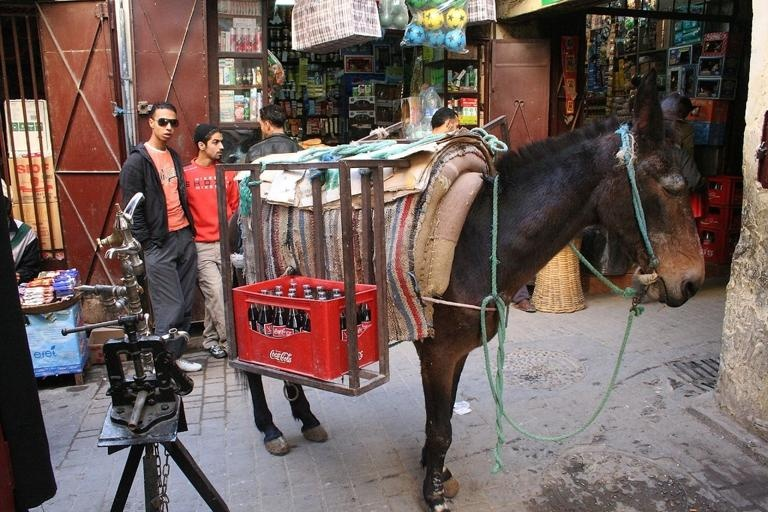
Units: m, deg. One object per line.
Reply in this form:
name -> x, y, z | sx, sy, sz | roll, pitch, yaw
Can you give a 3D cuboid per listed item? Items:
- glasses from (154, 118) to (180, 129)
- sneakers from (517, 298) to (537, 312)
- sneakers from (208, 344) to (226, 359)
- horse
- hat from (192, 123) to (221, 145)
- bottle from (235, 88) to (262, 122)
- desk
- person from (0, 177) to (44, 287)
glasses -> -2.238, -1.393, 5.944 | 0.119, 0.101, 0.231 | 9, 20, 36
sneakers -> 1.876, 0.652, 7.527 | 0.120, 0.146, 0.334 | -2, 2, -15
sneakers -> -1.897, 1.090, 6.492 | 0.102, 0.090, 0.242 | 2, -1, -32
horse -> 1.159, 0.304, 4.059 | 1.911, 2.997, 0.684 | -4, 16, -1
hat -> -1.980, -1.360, 6.325 | 0.242, 0.191, 0.189 | -3, 10, -5
bottle -> -1.743, -1.928, 7.259 | 0.389, 0.404, 0.117 | -6, 10, -17
desk -> -3.408, 0.873, 5.928 | 0.496, 0.854, 0.506 | -1, 13, -12
person -> -3.722, -0.111, 5.873 | 0.227, 0.753, 0.704 | -11, 18, -26
